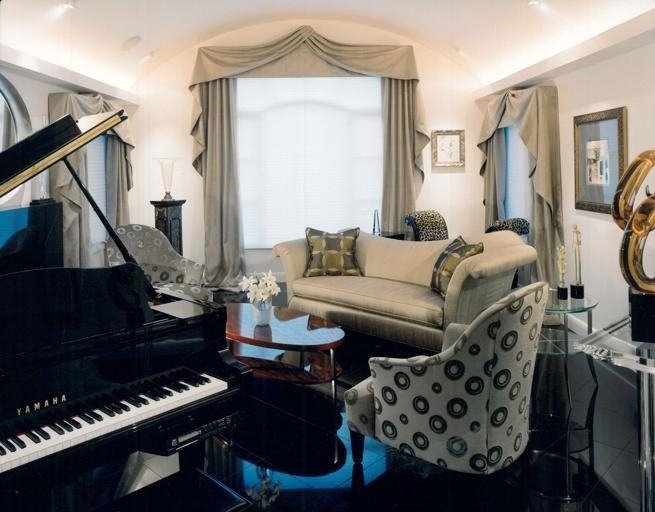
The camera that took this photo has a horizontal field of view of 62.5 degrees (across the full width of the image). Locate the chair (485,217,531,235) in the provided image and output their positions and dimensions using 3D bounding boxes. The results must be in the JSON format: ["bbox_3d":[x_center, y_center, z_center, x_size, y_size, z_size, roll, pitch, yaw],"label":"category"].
[{"bbox_3d":[1.921,-0.311,5.750,0.366,0.177,0.277,1,6,36],"label":"chair"}]

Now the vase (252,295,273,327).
[{"bbox_3d":[-0.476,0.426,4.146,0.159,0.288,0.191,-1,5,0],"label":"vase"}]

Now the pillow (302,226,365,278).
[{"bbox_3d":[0.052,-0.027,5.367,0.530,0.490,0.551,0,14,-1],"label":"pillow"}]

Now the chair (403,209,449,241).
[{"bbox_3d":[1.174,-0.344,6.450,0.373,0.527,0.387,-7,3,-39],"label":"chair"}]

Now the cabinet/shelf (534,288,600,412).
[{"bbox_3d":[2.132,0.813,4.586,0.550,0.679,0.582,-19,-12,41],"label":"cabinet/shelf"}]

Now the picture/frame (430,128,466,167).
[{"bbox_3d":[1.579,-1.443,7.100,0.427,0.483,0.050,0,3,1],"label":"picture/frame"}]

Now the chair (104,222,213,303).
[{"bbox_3d":[-1.569,0.214,5.173,0.940,1.109,0.768,-1,1,41],"label":"chair"}]

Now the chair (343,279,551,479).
[{"bbox_3d":[0.693,0.643,3.063,0.931,1.082,0.794,5,12,38],"label":"chair"}]
